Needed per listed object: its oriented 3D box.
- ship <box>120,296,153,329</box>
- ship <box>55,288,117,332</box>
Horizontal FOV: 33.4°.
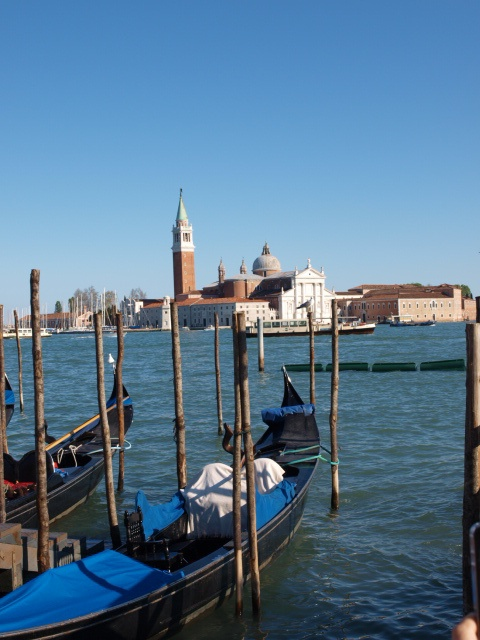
[{"bbox_3d":[-16.768,-1.137,124.889,2.434,4.526,7.104,-5,11,-27],"label":"ship"},{"bbox_3d":[-20.402,-0.991,107.465,5.022,5.879,6.010,-2,1,40],"label":"ship"}]
